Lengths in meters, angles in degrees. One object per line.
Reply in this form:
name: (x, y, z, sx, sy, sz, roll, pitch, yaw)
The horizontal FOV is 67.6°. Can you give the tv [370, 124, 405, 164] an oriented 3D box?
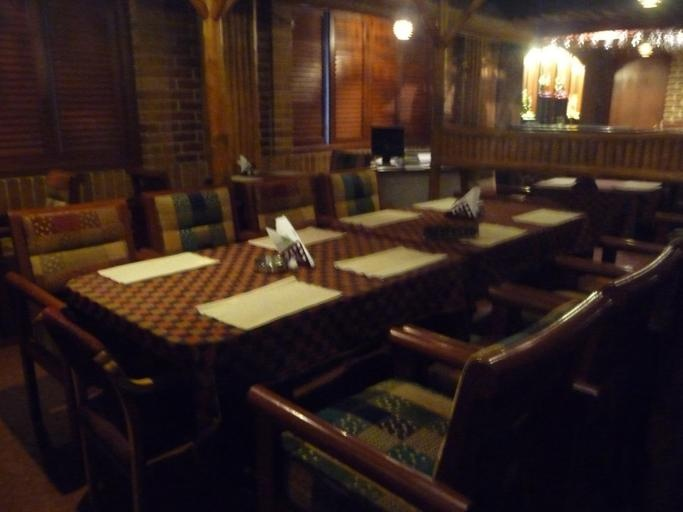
tv: (0.508, -1.245, 5.633, 0.439, 0.390, 0.470, 8, 16, 25)
